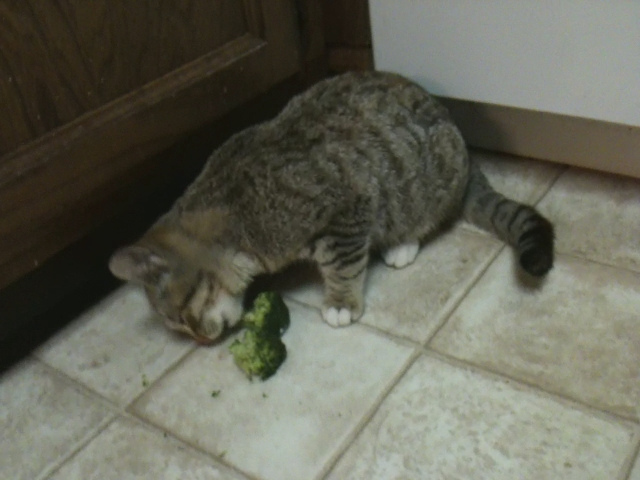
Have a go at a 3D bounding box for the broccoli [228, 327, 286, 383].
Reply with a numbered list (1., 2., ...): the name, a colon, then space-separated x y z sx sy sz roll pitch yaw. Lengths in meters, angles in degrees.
1. broccoli: -0.293 0.538 3.249 0.225 0.137 0.260 37 62 18

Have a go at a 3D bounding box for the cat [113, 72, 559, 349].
1. cat: 0.041 -0.166 3.590 2.067 0.673 1.138 -15 52 -6

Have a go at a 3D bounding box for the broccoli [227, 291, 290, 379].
1. broccoli: -0.279 0.462 3.355 0.255 0.171 0.460 17 52 -2
